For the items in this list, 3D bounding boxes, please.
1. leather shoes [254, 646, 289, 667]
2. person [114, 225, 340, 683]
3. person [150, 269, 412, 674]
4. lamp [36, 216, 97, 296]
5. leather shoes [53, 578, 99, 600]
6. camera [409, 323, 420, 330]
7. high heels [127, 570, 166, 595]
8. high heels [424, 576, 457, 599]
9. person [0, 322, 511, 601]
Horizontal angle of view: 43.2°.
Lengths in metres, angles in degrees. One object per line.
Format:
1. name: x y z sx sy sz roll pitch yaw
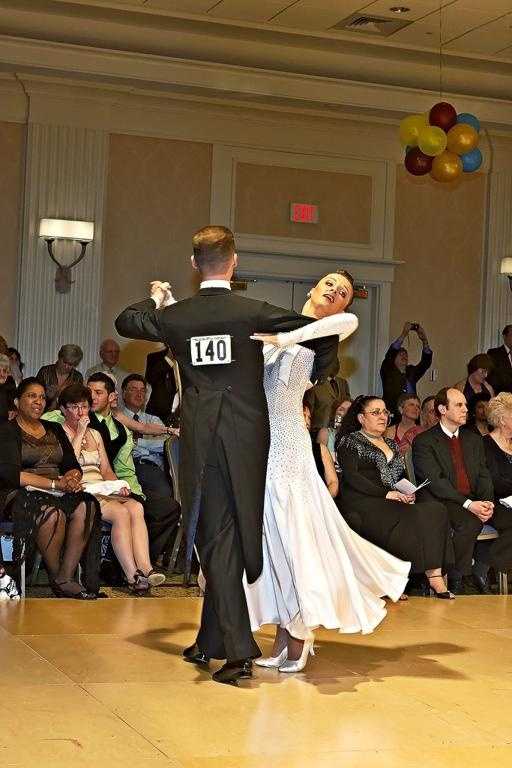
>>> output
1. leather shoes: 0.061 1.036 2.449 0.047 0.058 0.141 -12 -16 42
2. person: -0.143 0.174 2.060 0.594 1.374 0.263 4 -11 2
3. person: 0.109 0.658 3.176 1.447 1.951 1.071 6 -13 -12
4. lamp: -2.415 -1.617 8.110 0.680 0.921 0.357 7 -12 -16
5. leather shoes: -1.036 1.154 3.655 0.277 0.099 0.096 -2 -4 16
6. camera: 2.192 -0.800 9.005 0.130 0.118 0.053 1 -8 9
7. high heels: -0.680 1.265 4.106 0.290 0.100 0.106 -30 -34 31
8. high heels: 1.198 1.332 4.234 0.084 0.096 0.239 4 -11 -29
9. person: -0.074 0.506 3.939 3.727 1.400 0.835 0 -21 -9
